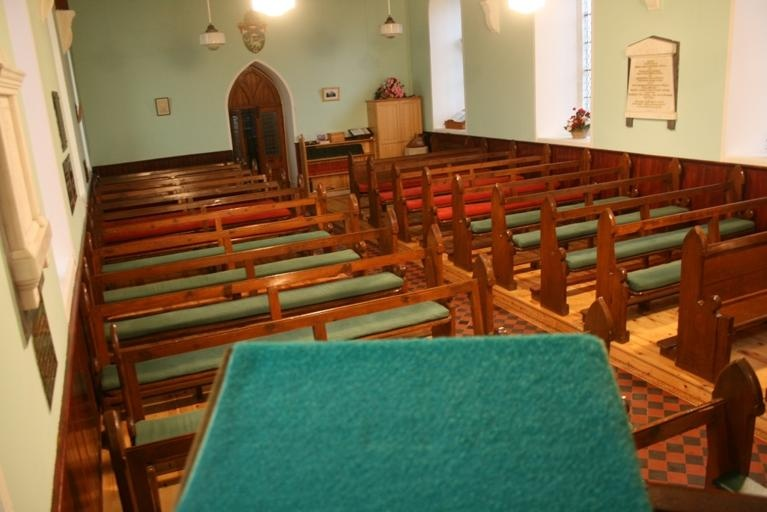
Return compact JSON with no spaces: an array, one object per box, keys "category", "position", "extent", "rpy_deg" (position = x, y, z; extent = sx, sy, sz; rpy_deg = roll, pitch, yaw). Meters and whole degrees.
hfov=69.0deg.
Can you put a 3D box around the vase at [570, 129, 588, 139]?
[{"category":"vase","position":[3.127,-1.940,8.871],"extent":[0.165,0.094,0.163],"rpy_deg":[-12,19,-32]}]

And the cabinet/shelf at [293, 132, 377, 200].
[{"category":"cabinet/shelf","position":[-1.133,-2.009,12.439],"extent":[2.101,1.582,0.758],"rpy_deg":[-7,17,-23]}]

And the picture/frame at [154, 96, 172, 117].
[{"category":"picture/frame","position":[-4.978,-3.387,12.745],"extent":[0.388,0.397,0.394],"rpy_deg":[-4,-1,-13]}]
